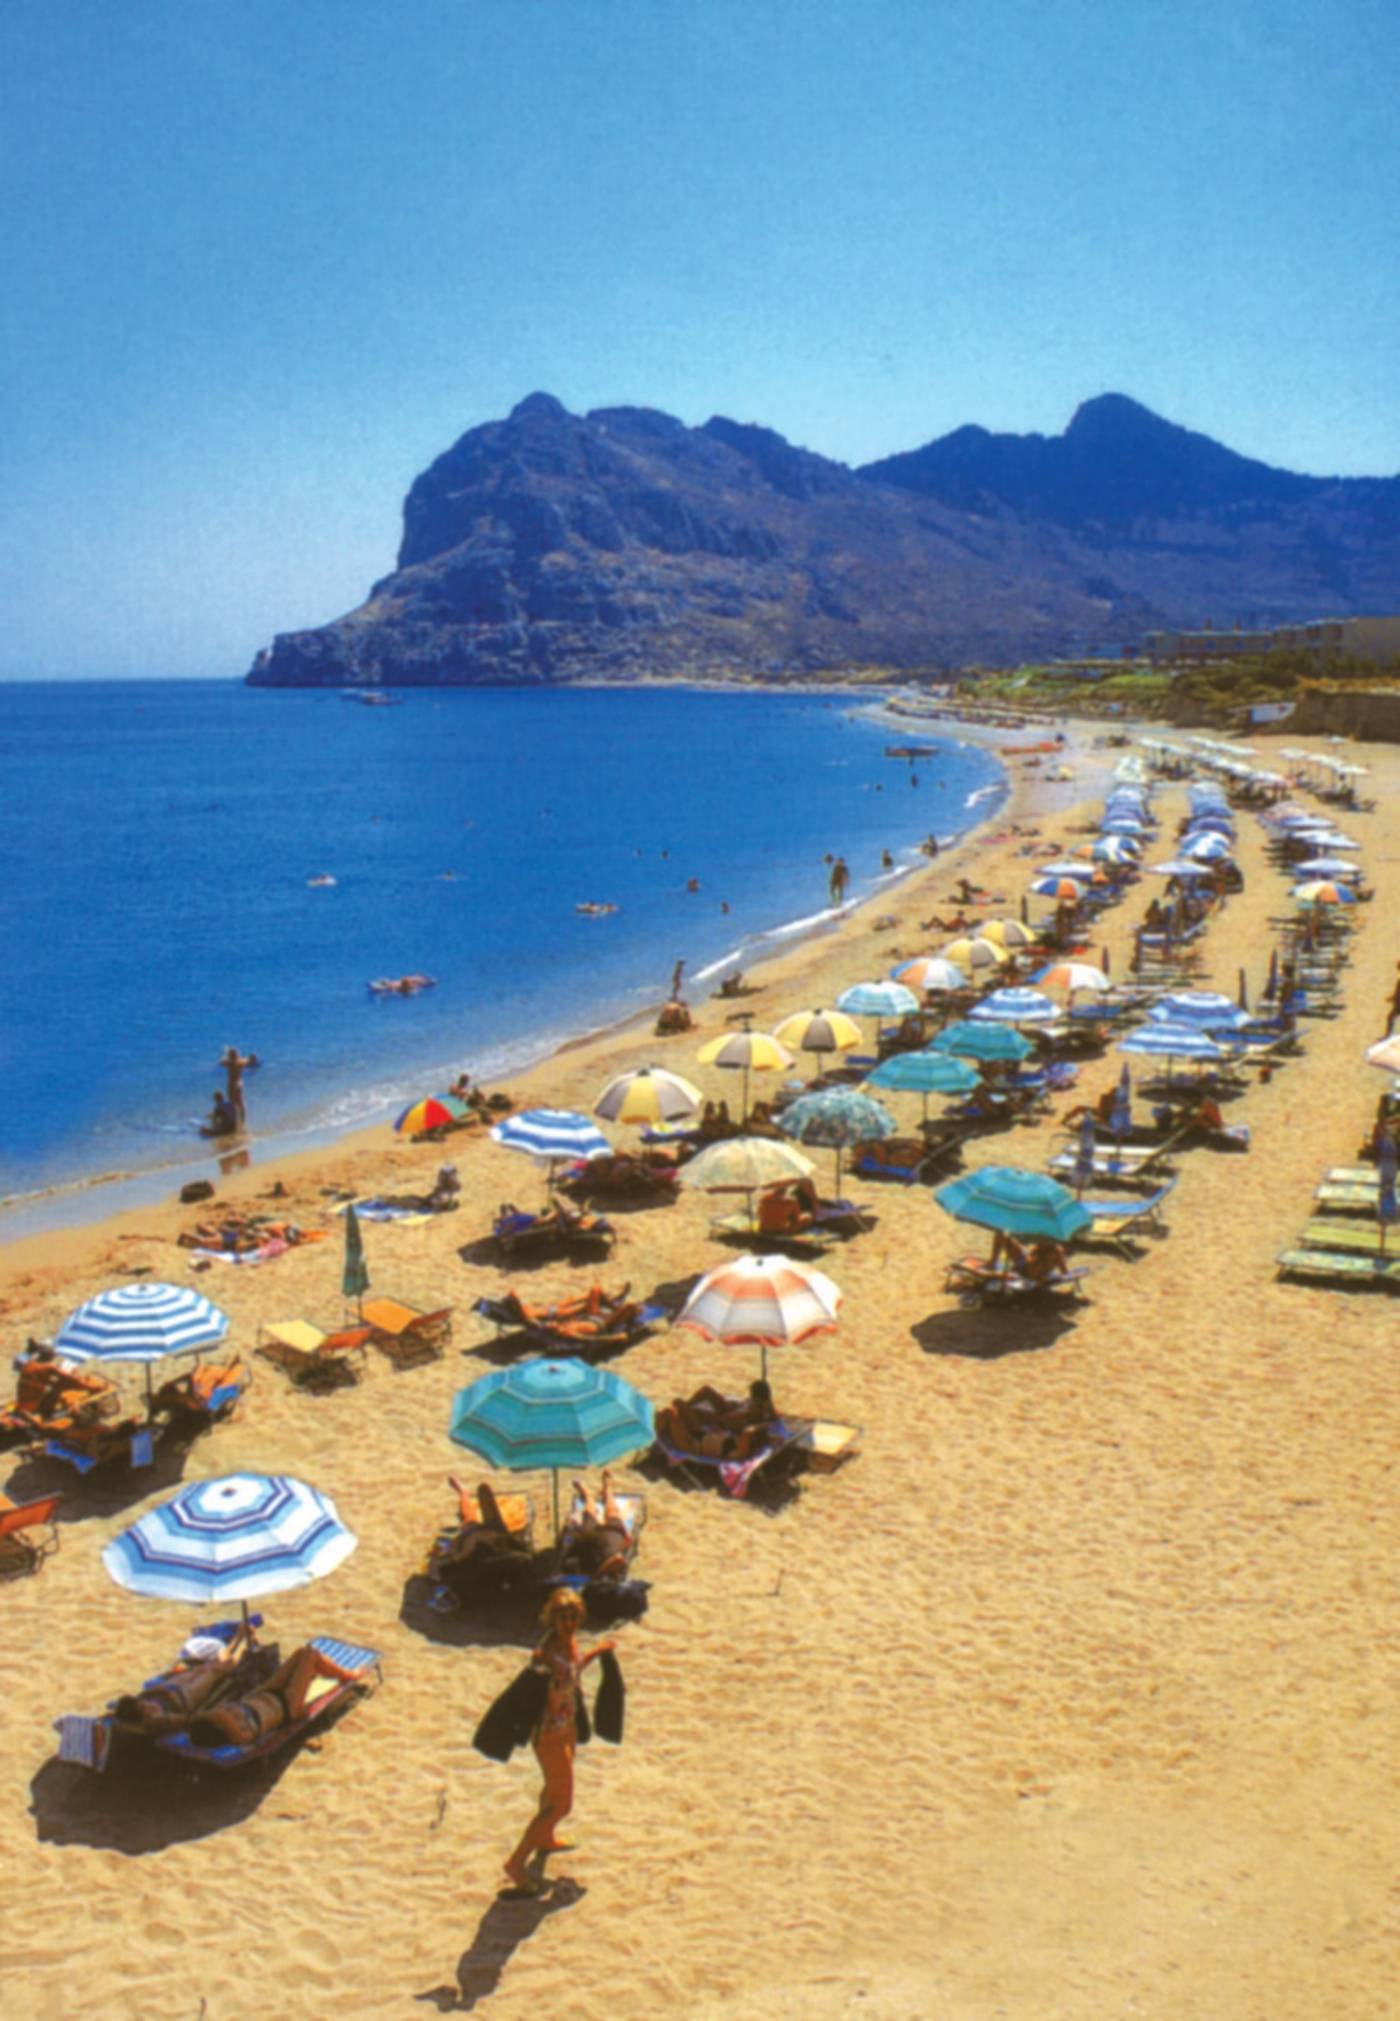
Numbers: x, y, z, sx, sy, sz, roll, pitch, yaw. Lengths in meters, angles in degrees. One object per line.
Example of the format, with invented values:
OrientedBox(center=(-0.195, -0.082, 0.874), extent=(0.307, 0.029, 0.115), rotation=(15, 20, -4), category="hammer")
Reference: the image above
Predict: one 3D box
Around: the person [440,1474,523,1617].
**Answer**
OrientedBox(center=(-1.427, 3.604, 12.574), extent=(0.687, 0.385, 1.186), rotation=(-6, 7, -3), category="person")

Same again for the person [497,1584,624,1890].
OrientedBox(center=(-0.755, 4.070, 9.797), extent=(0.624, 1.961, 0.977), rotation=(0, 29, 6), category="person")

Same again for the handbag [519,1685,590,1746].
OrientedBox(center=(-0.734, 3.701, 9.384), extent=(0.379, 0.281, 0.372), rotation=(1, 14, 0), category="handbag")

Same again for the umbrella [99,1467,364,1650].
OrientedBox(center=(-2.890, 3.144, 10.928), extent=(1.322, 0.411, 1.352), rotation=(2, 12, 16), category="umbrella")

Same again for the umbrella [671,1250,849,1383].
OrientedBox(center=(0.497, 2.539, 14.256), extent=(0.926, 0.759, 0.859), rotation=(-12, 32, -19), category="umbrella")

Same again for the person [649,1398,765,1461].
OrientedBox(center=(0.084, 3.275, 14.085), extent=(0.965, 0.348, 0.598), rotation=(1, 14, 18), category="person")

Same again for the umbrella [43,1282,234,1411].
OrientedBox(center=(-4.559, 2.867, 14.479), extent=(1.146, 0.968, 1.146), rotation=(24, 28, 33), category="umbrella")

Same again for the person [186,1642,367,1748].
OrientedBox(center=(-2.483, 4.110, 10.583), extent=(0.408, 0.267, 0.778), rotation=(12, 18, 27), category="person")
